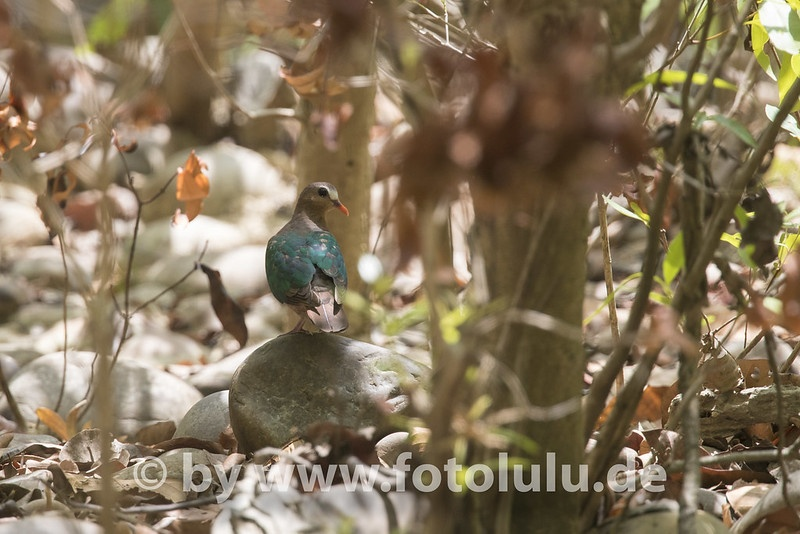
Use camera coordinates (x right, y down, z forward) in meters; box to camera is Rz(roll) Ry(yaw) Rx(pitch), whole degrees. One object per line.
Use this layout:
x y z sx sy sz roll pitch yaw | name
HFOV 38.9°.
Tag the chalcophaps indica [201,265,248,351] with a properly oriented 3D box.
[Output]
-0.812 0.241 5.440 0.137 0.527 0.075 -2 35 37 | chalcophaps indica
